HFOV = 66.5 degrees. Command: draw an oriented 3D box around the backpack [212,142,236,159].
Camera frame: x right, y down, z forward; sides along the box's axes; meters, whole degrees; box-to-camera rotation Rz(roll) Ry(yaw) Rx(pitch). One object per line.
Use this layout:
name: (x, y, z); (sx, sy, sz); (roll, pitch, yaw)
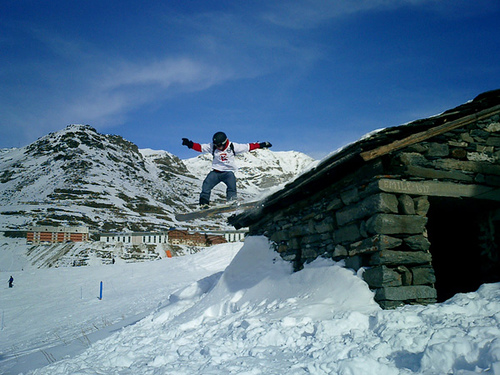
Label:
backpack: (-0.795, -1.163, 11.990); (0.531, 0.460, 0.407); (0, 5, 34)
